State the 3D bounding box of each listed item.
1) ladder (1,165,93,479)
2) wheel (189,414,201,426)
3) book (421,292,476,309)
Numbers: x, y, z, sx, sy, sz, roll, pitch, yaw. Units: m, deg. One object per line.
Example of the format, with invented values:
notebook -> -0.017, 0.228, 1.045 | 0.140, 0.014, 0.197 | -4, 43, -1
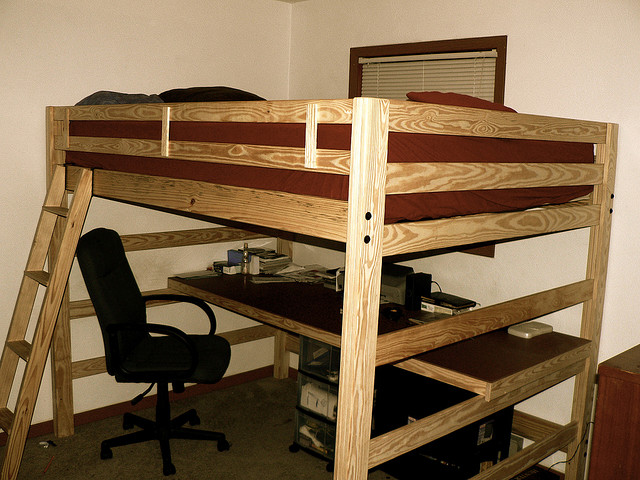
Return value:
ladder -> -1.708, 0.447, 3.243 | 0.605, 1.798, 0.803 | -2, 14, -23
wheel -> -0.931, 1.345, 3.853 | 0.102, 0.121, 0.038 | 4, -7, -12
book -> 0.783, 0.377, 3.205 | 0.161, 0.034, 0.155 | -2, 9, -39
